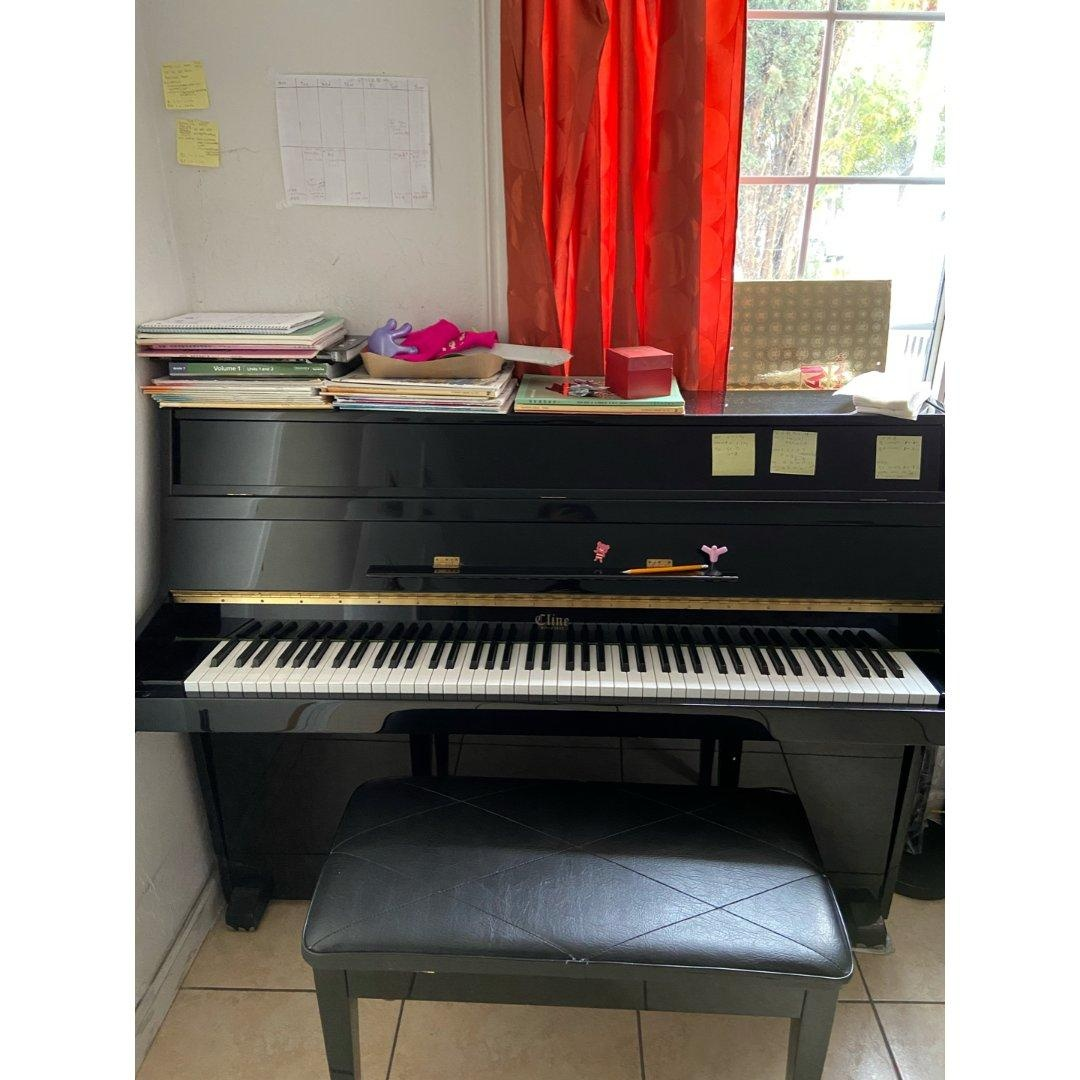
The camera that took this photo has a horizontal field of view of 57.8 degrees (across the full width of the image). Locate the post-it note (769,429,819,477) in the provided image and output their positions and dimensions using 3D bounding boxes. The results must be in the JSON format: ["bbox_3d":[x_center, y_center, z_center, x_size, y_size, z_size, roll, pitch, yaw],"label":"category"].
[{"bbox_3d":[0.420,-0.145,1.588,0.091,0.070,0.019,1,6,0],"label":"post-it note"}]

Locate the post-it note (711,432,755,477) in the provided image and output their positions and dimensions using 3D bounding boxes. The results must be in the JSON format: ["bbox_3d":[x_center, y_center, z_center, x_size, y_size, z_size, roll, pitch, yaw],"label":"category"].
[{"bbox_3d":[0.320,-0.143,1.618,0.084,0.066,0.018,1,8,6],"label":"post-it note"}]

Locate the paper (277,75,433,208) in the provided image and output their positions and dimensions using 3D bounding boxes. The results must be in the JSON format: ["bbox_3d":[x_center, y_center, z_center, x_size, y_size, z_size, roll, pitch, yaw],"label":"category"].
[{"bbox_3d":[-0.347,-0.748,1.806,0.263,0.177,0.011,0,19,-1],"label":"paper"}]

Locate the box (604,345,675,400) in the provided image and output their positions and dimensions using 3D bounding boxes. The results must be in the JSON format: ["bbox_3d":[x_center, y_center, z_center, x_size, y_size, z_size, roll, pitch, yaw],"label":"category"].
[{"bbox_3d":[0.174,-0.284,1.692,0.114,0.073,0.107,-8,23,-25],"label":"box"}]

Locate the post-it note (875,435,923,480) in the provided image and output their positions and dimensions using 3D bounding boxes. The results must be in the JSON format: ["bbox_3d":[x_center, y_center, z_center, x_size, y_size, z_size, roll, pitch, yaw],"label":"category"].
[{"bbox_3d":[0.590,-0.137,1.600,0.086,0.069,0.018,0,7,2],"label":"post-it note"}]

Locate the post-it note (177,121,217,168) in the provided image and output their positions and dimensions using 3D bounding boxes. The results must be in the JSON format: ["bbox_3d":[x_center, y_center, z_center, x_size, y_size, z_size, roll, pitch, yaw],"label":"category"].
[{"bbox_3d":[-0.628,-0.724,1.778,0.088,0.080,0.010,4,6,-7],"label":"post-it note"}]

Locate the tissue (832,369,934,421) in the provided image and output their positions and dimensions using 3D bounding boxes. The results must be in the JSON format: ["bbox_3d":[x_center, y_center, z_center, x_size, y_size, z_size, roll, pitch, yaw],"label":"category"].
[{"bbox_3d":[0.581,-0.246,1.662,0.153,0.059,0.212,5,17,17],"label":"tissue"}]

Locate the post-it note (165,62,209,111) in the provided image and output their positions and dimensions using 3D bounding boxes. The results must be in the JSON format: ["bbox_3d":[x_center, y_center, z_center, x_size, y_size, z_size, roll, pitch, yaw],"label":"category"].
[{"bbox_3d":[-0.636,-0.814,1.747,0.102,0.093,0.010,1,16,-10],"label":"post-it note"}]
